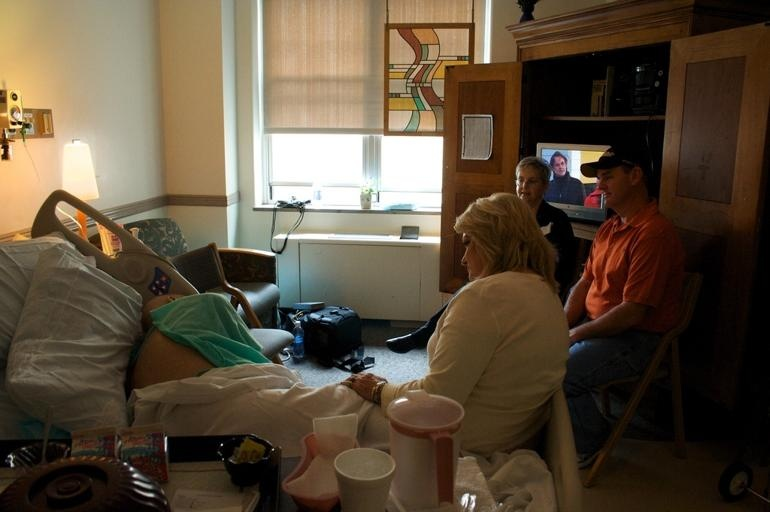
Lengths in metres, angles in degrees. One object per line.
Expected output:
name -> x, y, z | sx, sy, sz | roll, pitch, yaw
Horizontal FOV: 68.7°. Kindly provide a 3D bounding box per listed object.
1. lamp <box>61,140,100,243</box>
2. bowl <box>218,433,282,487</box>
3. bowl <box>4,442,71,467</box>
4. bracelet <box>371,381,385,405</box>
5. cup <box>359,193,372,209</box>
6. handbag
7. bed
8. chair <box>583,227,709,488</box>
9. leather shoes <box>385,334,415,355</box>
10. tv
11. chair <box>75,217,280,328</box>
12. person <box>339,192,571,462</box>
lamp -> -2.065, -0.453, 3.831 | 0.202, 0.668, 0.528 | -8, 15, -28
bowl -> -0.443, 0.648, 1.814 | 0.150, 0.082, 0.151 | 2, 6, 0
bowl -> -1.057, 0.612, 1.727 | 0.120, 0.029, 0.119 | 0, 2, 0
bracelet -> -0.030, 0.541, 2.229 | 0.065, 0.072, 0.071 | -7, -1, -44
cup -> -0.181, -0.522, 5.402 | 0.152, 0.211, 0.128 | 0, 1, 3
handbag -> -0.376, 0.641, 4.523 | 0.603, 0.355, 0.370 | 13, 17, 39
bed -> -0.446, 0.432, 2.206 | 1.806, 0.713, 0.976 | -1, 6, 1
chair -> 1.467, 0.630, 3.269 | 0.763, 1.037, 0.727 | -9, 2, 6
leather shoes -> 0.100, 0.646, 4.105 | 0.299, 0.118, 0.108 | -3, 4, 30
tv -> 1.336, -0.503, 3.987 | 0.665, 0.651, 0.236 | 7, 11, 44
chair -> -1.399, 0.262, 4.410 | 1.013, 1.068, 0.818 | 4, 12, -2
person -> 0.334, 0.263, 2.206 | 0.743, 0.966, 0.371 | -4, 14, -14
